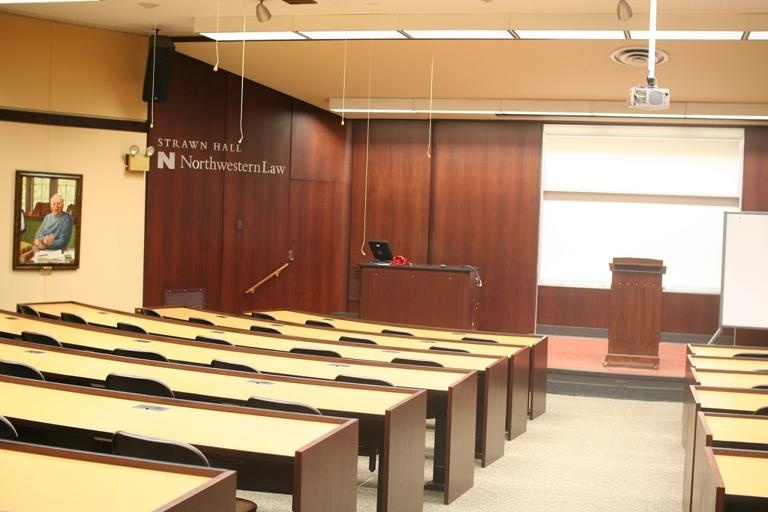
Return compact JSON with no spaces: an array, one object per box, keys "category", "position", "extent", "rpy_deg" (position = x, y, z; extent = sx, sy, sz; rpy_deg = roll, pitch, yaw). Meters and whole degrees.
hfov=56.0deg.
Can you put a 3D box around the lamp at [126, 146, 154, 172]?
[{"category":"lamp","position":[-3.817,-1.518,11.193],"extent":[0.398,0.394,0.200],"rpy_deg":[3,-5,-39]}]

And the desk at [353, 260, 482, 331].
[{"category":"desk","position":[0.693,0.544,11.716],"extent":[1.696,1.301,1.058],"rpy_deg":[2,3,21]}]

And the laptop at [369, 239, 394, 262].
[{"category":"laptop","position":[-0.049,-0.069,11.729],"extent":[0.358,0.357,0.233],"rpy_deg":[14,14,28]}]

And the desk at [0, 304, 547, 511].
[{"category":"desk","position":[-0.990,1.147,7.935],"extent":[5.399,1.278,3.446],"rpy_deg":[11,13,15]}]

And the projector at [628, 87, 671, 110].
[{"category":"projector","position":[2.558,-1.506,6.923],"extent":[0.331,0.216,0.134],"rpy_deg":[-2,6,7]}]

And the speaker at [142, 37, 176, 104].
[{"category":"speaker","position":[-3.425,-2.830,10.900],"extent":[0.413,0.982,0.372],"rpy_deg":[2,13,-20]}]
